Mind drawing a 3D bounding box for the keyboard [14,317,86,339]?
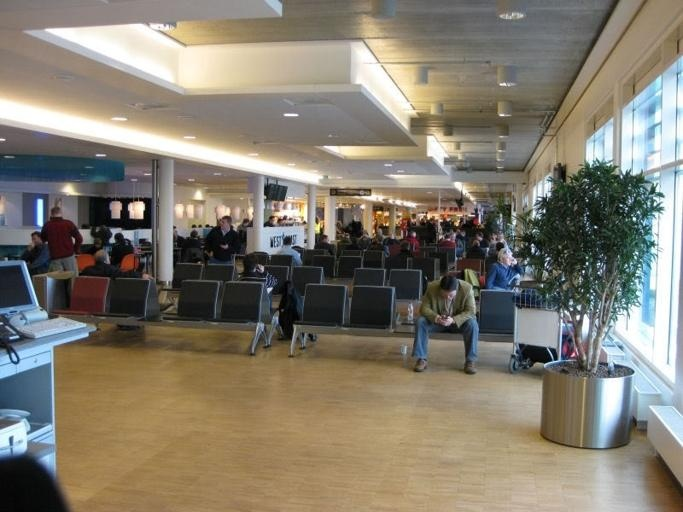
[{"bbox_3d":[-2.060,0.491,3.606,0.418,0.082,0.419,4,6,30],"label":"keyboard"}]

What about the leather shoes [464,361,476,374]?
[{"bbox_3d":[1.652,1.431,6.709,0.160,0.139,0.174,2,6,13],"label":"leather shoes"}]

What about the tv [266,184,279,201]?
[{"bbox_3d":[-2.631,-2.408,19.737,0.137,0.554,0.583,4,1,14],"label":"tv"}]

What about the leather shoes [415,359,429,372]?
[{"bbox_3d":[1.039,1.422,6.879,0.151,0.141,0.306,2,6,18],"label":"leather shoes"}]

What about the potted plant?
[{"bbox_3d":[2.187,0.426,4.737,0.929,2.535,0.803,-1,6,-14],"label":"potted plant"}]

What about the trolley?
[{"bbox_3d":[2.613,0.895,6.661,0.948,1.139,1.006,-1,2,11],"label":"trolley"}]

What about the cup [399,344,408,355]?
[{"bbox_3d":[0.917,1.377,7.639,0.125,0.126,0.125,2,2,0],"label":"cup"}]
